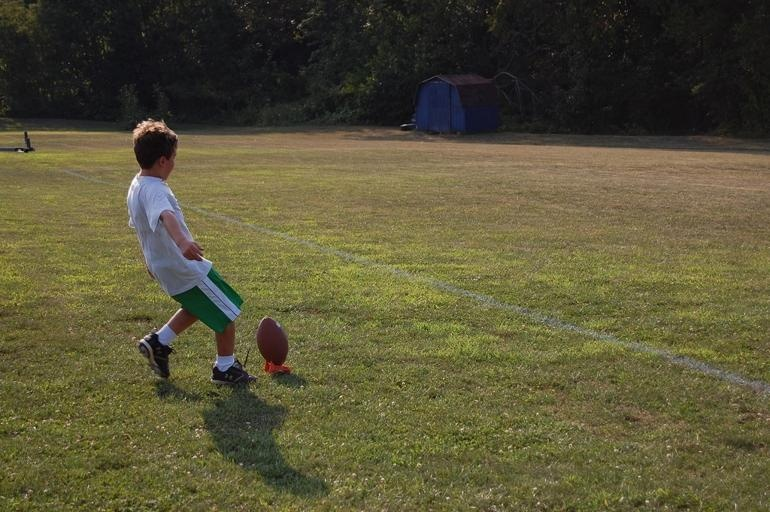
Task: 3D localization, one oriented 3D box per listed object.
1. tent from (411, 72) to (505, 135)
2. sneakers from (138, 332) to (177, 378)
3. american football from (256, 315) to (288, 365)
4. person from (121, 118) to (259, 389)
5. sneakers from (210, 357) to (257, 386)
[{"bbox_3d":[3.651,-7.769,42.122,3.404,2.533,3.498,8,15,36],"label":"tent"},{"bbox_3d":[-2.334,1.002,8.499,0.245,0.513,0.187,-33,39,-19],"label":"sneakers"},{"bbox_3d":[-1.170,0.874,8.758,0.296,0.482,0.288,-31,14,-32],"label":"american football"},{"bbox_3d":[-2.040,-0.014,8.334,1.164,2.630,0.888,0,12,0],"label":"person"},{"bbox_3d":[-1.570,1.226,8.610,0.503,0.253,0.185,2,-1,-11],"label":"sneakers"}]
